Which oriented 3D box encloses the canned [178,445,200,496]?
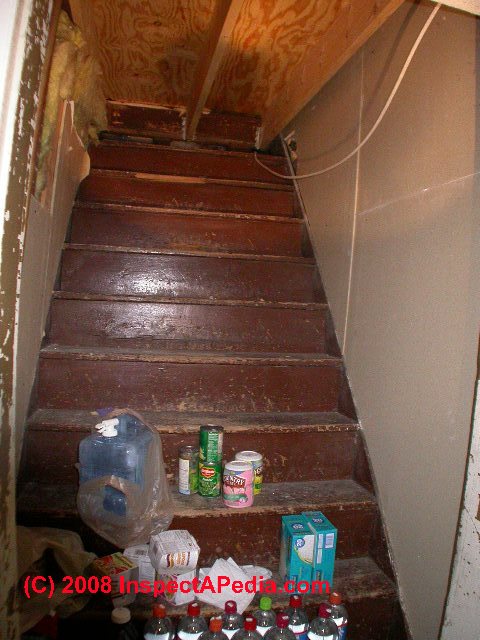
[{"bbox_3d":[-0.156,0.445,1.341,0.063,0.141,0.069,-2,8,-29],"label":"canned"}]

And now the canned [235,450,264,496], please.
[{"bbox_3d":[0.041,0.430,1.325,0.089,0.127,0.098,-2,8,-25],"label":"canned"}]

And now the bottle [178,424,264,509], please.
[{"bbox_3d":[-0.048,0.415,1.411,0.244,0.306,0.155,2,4,26],"label":"bottle"}]

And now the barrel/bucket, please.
[{"bbox_3d":[-0.369,0.400,1.317,0.186,0.365,0.225,2,22,-23],"label":"barrel/bucket"}]

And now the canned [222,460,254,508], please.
[{"bbox_3d":[-0.010,0.460,1.283,0.082,0.120,0.093,4,11,20],"label":"canned"}]
